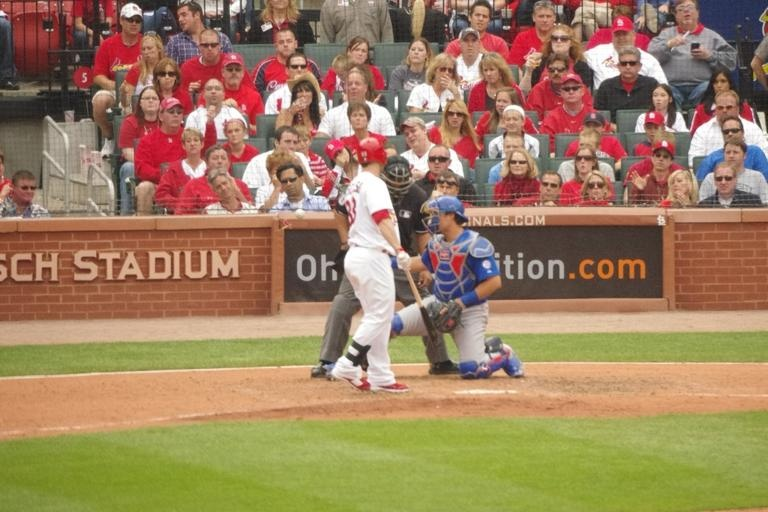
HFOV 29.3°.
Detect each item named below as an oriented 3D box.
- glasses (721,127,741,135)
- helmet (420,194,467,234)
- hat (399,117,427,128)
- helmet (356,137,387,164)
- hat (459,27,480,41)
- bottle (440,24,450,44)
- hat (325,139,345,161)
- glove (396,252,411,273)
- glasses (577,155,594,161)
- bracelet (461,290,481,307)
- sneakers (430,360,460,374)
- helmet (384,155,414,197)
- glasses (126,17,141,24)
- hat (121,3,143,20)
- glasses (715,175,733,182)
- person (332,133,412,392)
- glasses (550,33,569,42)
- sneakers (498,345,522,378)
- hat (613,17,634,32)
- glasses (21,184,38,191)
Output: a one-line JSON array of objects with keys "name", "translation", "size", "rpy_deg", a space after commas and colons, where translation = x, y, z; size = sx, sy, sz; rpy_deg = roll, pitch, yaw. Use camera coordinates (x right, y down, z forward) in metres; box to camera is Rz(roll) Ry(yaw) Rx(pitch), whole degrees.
[{"name": "glasses", "translation": [6.050, -2.167, 25.498], "size": [0.317, 0.104, 0.097], "rpy_deg": [1, 6, 12]}, {"name": "helmet", "translation": [0.839, -0.598, 20.830], "size": [0.615, 0.473, 0.488], "rpy_deg": [3, 1, 12]}, {"name": "hat", "translation": [0.523, -2.299, 25.227], "size": [0.402, 0.206, 0.509], "rpy_deg": [0, 5, 2]}, {"name": "helmet", "translation": [-0.158, -1.483, 20.208], "size": [0.302, 0.395, 0.397], "rpy_deg": [11, 26, 36]}, {"name": "hat", "translation": [1.594, -4.152, 27.512], "size": [0.360, 0.193, 0.296], "rpy_deg": [1, 6, 15]}, {"name": "bottle", "translation": [1.297, -4.548, 29.981], "size": [0.188, 0.425, 0.363], "rpy_deg": [1, 6, 18]}, {"name": "hat", "translation": [-0.811, -1.791, 24.944], "size": [0.172, 0.223, 0.357], "rpy_deg": [29, -20, 2]}, {"name": "glove", "translation": [0.268, 0.073, 19.943], "size": [0.181, 0.246, 0.078], "rpy_deg": [9, 48, 33]}, {"name": "glasses", "translation": [3.441, -1.670, 24.994], "size": [0.277, 0.066, 0.071], "rpy_deg": [0, 5, 8]}, {"name": "bracelet", "translation": [1.237, 0.625, 20.650], "size": [0.178, 0.198, 0.234], "rpy_deg": [34, -32, -21]}, {"name": "sneakers", "translation": [0.888, 1.614, 21.392], "size": [0.469, 0.201, 0.166], "rpy_deg": [-3, 4, -15]}, {"name": "helmet", "translation": [0.178, -1.162, 21.248], "size": [0.454, 0.531, 0.530], "rpy_deg": [-1, 9, -9]}, {"name": "glasses", "translation": [-4.728, -4.534, 28.227], "size": [0.192, 0.126, 0.421], "rpy_deg": [2, 6, 25]}, {"name": "hat", "translation": [-4.841, -4.719, 28.286], "size": [0.375, 0.321, 0.515], "rpy_deg": [-2, 6, -14]}, {"name": "glasses", "translation": [5.795, -1.315, 25.044], "size": [0.274, 0.094, 0.103], "rpy_deg": [1, 6, 13]}, {"name": "person", "translation": [-0.157, 0.134, 20.139], "size": [0.953, 3.490, 0.506], "rpy_deg": [0, 5, 6]}, {"name": "glasses", "translation": [3.282, -4.060, 27.319], "size": [0.318, 0.128, 0.128], "rpy_deg": [0, 5, 6]}, {"name": "sneakers", "translation": [1.867, 1.516, 21.136], "size": [0.191, 0.485, 0.268], "rpy_deg": [-25, 17, 40]}, {"name": "hat", "translation": [4.525, -4.399, 27.824], "size": [0.391, 0.311, 0.413], "rpy_deg": [2, 6, 25]}, {"name": "glasses", "translation": [-6.131, -1.194, 25.493], "size": [0.220, 0.105, 0.276], "rpy_deg": [0, -10, -16]}]
